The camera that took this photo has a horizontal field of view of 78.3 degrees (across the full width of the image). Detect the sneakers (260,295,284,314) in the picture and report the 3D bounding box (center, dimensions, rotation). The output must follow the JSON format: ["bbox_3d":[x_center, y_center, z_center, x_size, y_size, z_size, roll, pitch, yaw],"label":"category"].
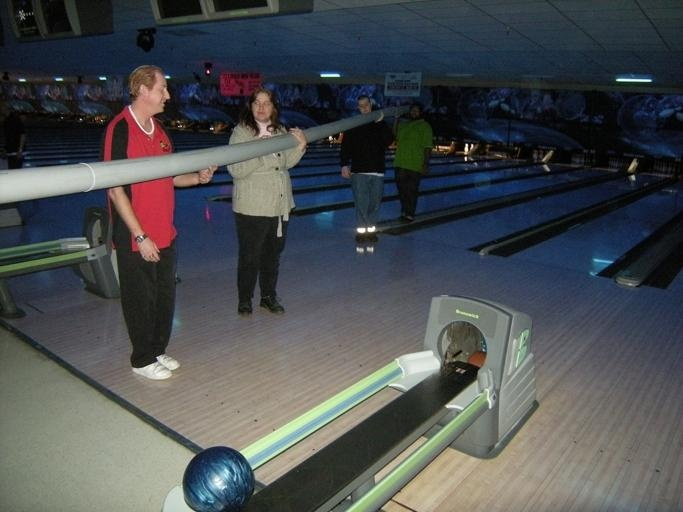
[{"bbox_3d":[-0.492,0.331,3.000,0.222,0.094,0.082,8,13,37],"label":"sneakers"}]

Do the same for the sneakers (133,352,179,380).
[{"bbox_3d":[-0.963,0.559,2.207,0.173,0.052,0.128,5,14,8],"label":"sneakers"}]

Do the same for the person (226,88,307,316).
[{"bbox_3d":[-0.461,-0.252,2.672,0.505,1.482,0.700,-11,29,-24],"label":"person"}]

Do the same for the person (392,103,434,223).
[{"bbox_3d":[0.861,-1.111,5.270,0.455,1.502,0.690,5,27,7],"label":"person"}]

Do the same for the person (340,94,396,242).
[{"bbox_3d":[0.243,-0.786,4.531,0.524,1.296,0.444,4,27,5],"label":"person"}]

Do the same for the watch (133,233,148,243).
[{"bbox_3d":[-0.896,-0.082,1.873,0.054,0.050,0.041,-8,28,-19],"label":"watch"}]
